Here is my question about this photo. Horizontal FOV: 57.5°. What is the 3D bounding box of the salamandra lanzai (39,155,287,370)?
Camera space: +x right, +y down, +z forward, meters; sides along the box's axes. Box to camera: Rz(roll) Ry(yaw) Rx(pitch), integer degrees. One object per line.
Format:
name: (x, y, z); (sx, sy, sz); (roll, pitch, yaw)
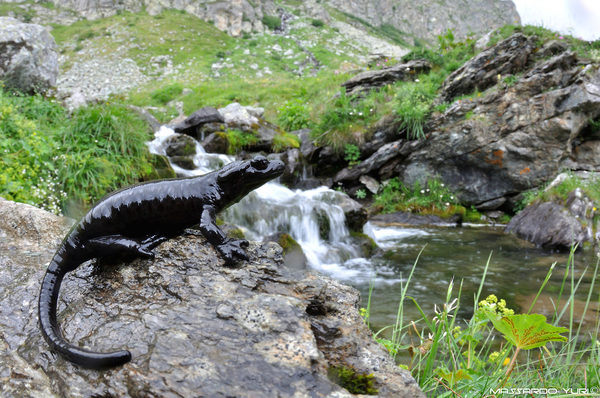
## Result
salamandra lanzai: (-2.383, 0.619, 9.386); (3.627, 1.548, 5.119); (16, 25, 34)
